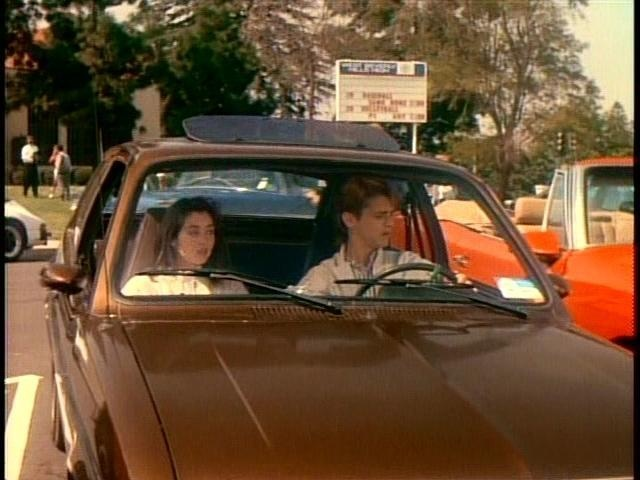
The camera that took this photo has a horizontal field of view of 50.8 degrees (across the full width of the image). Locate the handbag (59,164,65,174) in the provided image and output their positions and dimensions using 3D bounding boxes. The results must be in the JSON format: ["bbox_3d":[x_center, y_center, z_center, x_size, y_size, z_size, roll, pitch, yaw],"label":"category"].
[{"bbox_3d":[-2.236,-0.608,5.879,0.016,0.063,0.060,34,18,28],"label":"handbag"}]

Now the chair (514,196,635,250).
[{"bbox_3d":[1.871,-0.119,5.092,0.453,0.432,0.820,-1,6,-16],"label":"chair"}]
